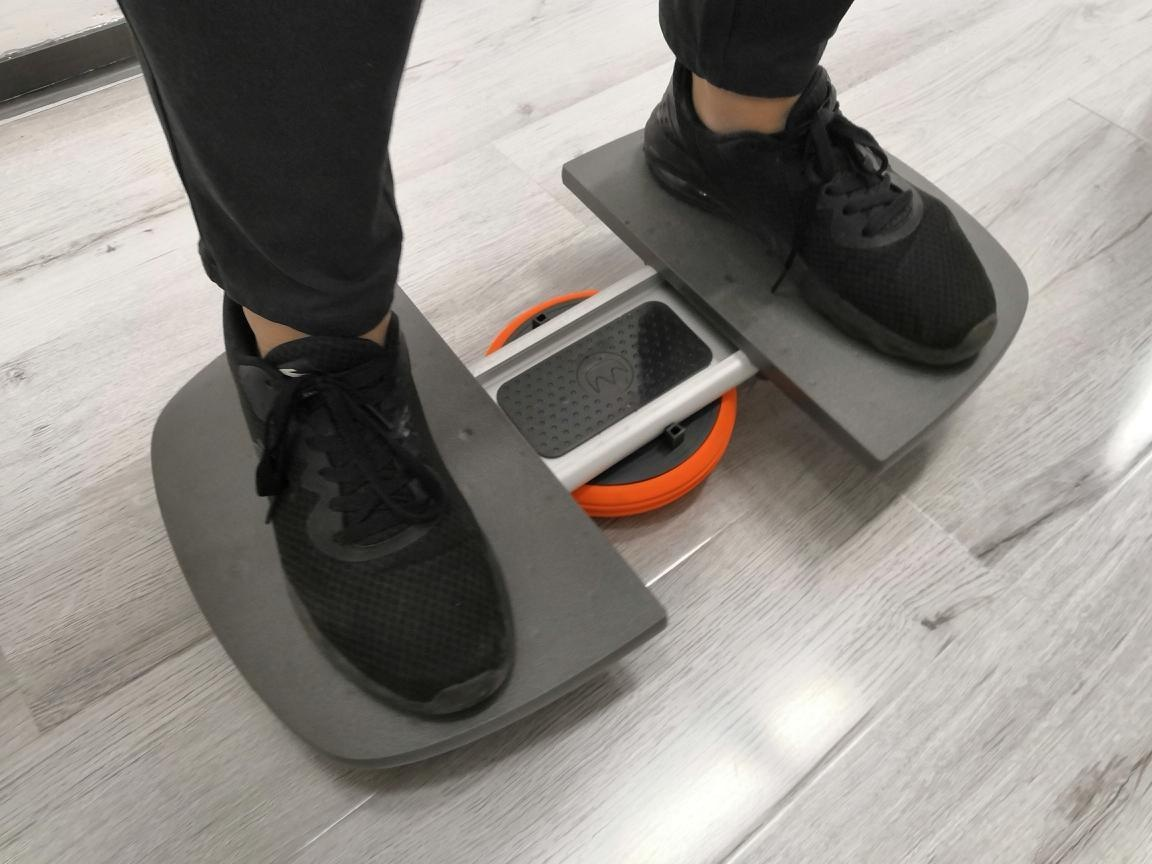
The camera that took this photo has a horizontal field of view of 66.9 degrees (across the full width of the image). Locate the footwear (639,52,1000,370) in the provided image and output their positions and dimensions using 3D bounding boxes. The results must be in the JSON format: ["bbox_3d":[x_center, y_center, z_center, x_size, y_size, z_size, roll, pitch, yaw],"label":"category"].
[{"bbox_3d":[0.345,-0.358,1.395,0.704,0.284,0.278,35,71,11],"label":"footwear"}]
